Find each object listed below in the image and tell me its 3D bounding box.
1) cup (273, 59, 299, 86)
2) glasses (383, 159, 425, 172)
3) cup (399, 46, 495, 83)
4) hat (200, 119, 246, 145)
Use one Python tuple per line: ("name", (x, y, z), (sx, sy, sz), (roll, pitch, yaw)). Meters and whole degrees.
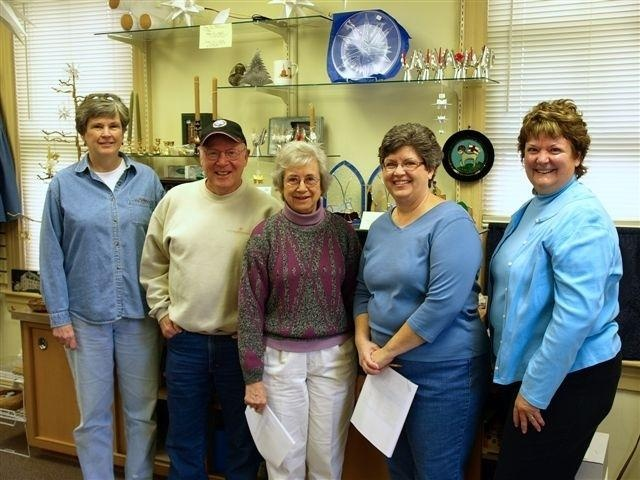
("cup", (-0.204, -0.988, 3.163), (0.145, 0.165, 0.237), (1, 9, -5))
("glasses", (0.328, -0.290, 2.107), (0.152, 0.045, 0.057), (3, 9, 9))
("cup", (0.680, -0.945, 2.868), (0.477, 0.211, 0.286), (3, 9, 12))
("hat", (-0.429, -0.478, 2.378), (0.188, 0.120, 0.136), (0, 9, -10))
